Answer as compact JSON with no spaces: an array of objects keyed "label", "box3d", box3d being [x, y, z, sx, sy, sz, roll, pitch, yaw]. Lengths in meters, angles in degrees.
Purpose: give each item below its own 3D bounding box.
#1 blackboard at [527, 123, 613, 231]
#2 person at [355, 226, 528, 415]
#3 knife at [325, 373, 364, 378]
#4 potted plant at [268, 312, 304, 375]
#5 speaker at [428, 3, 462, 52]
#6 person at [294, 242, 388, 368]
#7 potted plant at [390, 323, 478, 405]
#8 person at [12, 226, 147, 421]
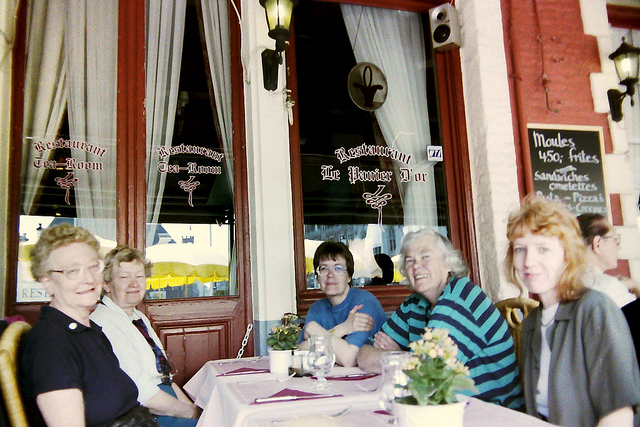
[{"label":"blackboard","box3d":[2.324,-0.378,5.337,0.789,0.949,0.080,-3,-6,-13]},{"label":"person","box3d":[0.733,0.739,3.544,0.829,1.170,0.872,1,-7,-12]},{"label":"knife","box3d":[0.156,0.937,3.324,0.255,0.014,0.067,-1,1,-3]},{"label":"potted plant","box3d":[-0.223,0.808,3.540,0.188,0.375,0.177,9,-13,-33]},{"label":"speaker","box3d":[1.181,-1.750,5.425,0.276,0.384,0.187,-5,-6,16]},{"label":"person","box3d":[0.099,0.666,4.068,0.785,0.938,0.786,-3,-6,2]},{"label":"potted plant","box3d":[0.514,0.697,2.626,0.315,0.320,0.351,7,-23,-19]},{"label":"person","box3d":[-1.371,0.655,3.292,0.533,1.043,0.855,-7,-8,-7]}]
